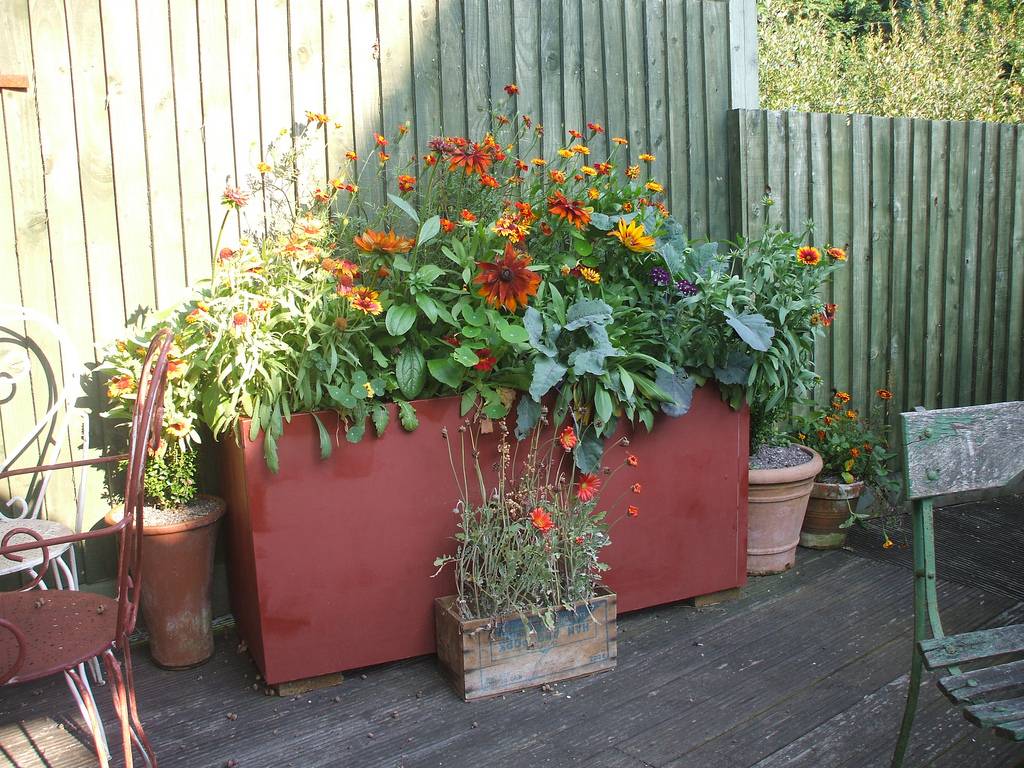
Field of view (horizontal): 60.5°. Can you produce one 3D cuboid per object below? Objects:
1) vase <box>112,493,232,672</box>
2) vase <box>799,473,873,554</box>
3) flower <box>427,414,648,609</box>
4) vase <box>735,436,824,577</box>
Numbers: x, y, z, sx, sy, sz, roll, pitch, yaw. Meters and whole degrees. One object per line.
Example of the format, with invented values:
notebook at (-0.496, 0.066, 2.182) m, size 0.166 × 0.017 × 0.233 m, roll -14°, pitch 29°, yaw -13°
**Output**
vase at (-1.247, 0.750, 3.561) m, size 0.507 × 0.793 × 0.574 m, roll 0°, pitch 4°, yaw -2°
vase at (1.600, 0.629, 4.372) m, size 0.282 × 0.292 × 0.308 m, roll 7°, pitch 0°, yaw -3°
flower at (0.041, 0.514, 3.305) m, size 0.537 × 0.896 × 0.372 m, roll 2°, pitch -19°, yaw -18°
vase at (1.225, 0.553, 4.182) m, size 0.460 × 0.541 × 0.473 m, roll 3°, pitch 4°, yaw 30°
